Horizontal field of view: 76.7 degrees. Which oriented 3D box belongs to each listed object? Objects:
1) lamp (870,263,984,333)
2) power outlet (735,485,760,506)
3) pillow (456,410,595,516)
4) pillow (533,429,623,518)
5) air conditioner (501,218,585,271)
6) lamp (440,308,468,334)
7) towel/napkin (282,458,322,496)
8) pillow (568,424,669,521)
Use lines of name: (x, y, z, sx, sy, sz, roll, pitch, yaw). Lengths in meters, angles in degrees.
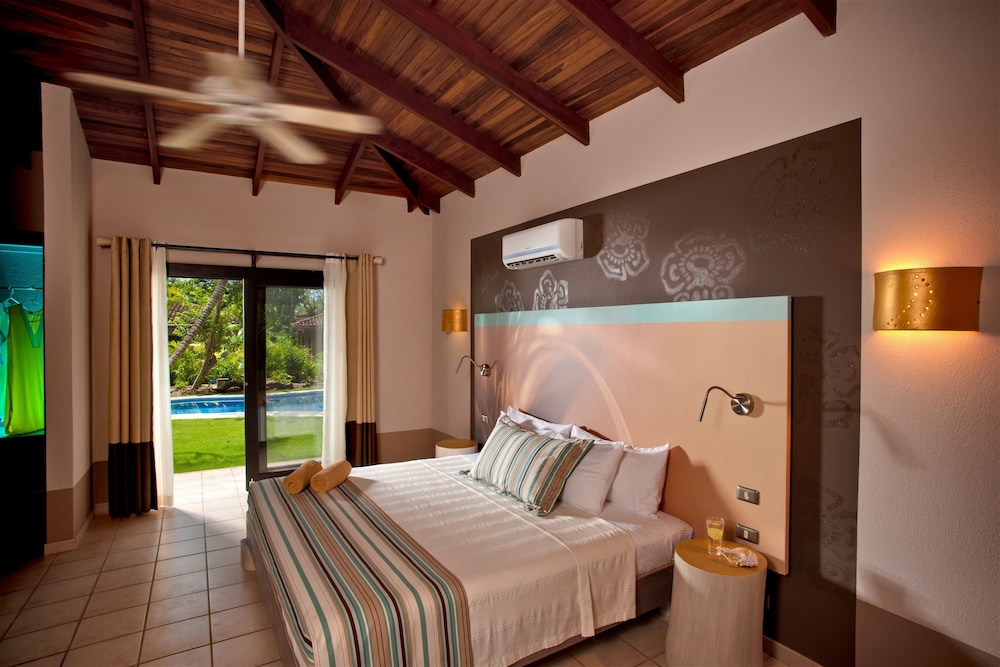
lamp: (2.586, -0.235, 3.872, 0.539, 0.388, 0.294, 0, 14, 27)
power outlet: (1.758, 1.149, 4.464, 0.030, 0.124, 0.166, 2, -2, -34)
pillow: (0.271, 1.051, 5.109, 0.236, 0.581, 0.882, 37, -13, -24)
pillow: (0.661, 1.088, 4.886, 0.485, 0.497, 0.195, 8, -21, 44)
air conditioner: (0.386, -0.814, 5.873, 0.313, 0.391, 0.896, -6, 2, -30)
lamp: (-0.516, -0.151, 7.185, 0.350, 0.279, 0.132, 11, 16, 42)
towel/napkin: (-1.673, 1.230, 5.257, 0.200, 0.181, 0.378, -25, 6, 6)
pillow: (0.944, 1.123, 4.927, 0.642, 0.509, 0.229, -2, -21, 40)
